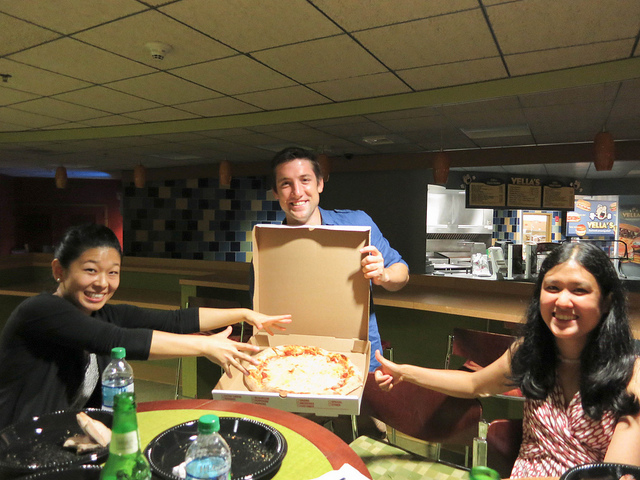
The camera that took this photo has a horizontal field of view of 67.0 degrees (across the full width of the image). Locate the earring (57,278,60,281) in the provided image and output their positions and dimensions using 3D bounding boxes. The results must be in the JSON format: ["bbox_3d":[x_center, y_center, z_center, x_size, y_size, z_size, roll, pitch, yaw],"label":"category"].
[{"bbox_3d":[-1.124,0.168,2.079,0.008,0.014,0.028,1,3,-34],"label":"earring"}]

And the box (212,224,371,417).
[{"bbox_3d":[-0.022,0.298,2.339,0.878,0.810,0.904,2,5,10],"label":"box"}]

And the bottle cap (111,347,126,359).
[{"bbox_3d":[-0.717,0.399,1.718,0.043,0.022,0.042,3,3,19],"label":"bottle cap"}]

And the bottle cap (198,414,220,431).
[{"bbox_3d":[-0.312,0.503,1.352,0.053,0.037,0.047,2,3,-18],"label":"bottle cap"}]

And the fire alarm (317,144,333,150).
[{"bbox_3d":[0.072,-1.138,5.978,0.159,0.036,0.132,0,-4,-6],"label":"fire alarm"}]

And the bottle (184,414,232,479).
[{"bbox_3d":[-0.318,0.588,1.383,0.122,0.209,0.097,2,3,-12],"label":"bottle"}]
